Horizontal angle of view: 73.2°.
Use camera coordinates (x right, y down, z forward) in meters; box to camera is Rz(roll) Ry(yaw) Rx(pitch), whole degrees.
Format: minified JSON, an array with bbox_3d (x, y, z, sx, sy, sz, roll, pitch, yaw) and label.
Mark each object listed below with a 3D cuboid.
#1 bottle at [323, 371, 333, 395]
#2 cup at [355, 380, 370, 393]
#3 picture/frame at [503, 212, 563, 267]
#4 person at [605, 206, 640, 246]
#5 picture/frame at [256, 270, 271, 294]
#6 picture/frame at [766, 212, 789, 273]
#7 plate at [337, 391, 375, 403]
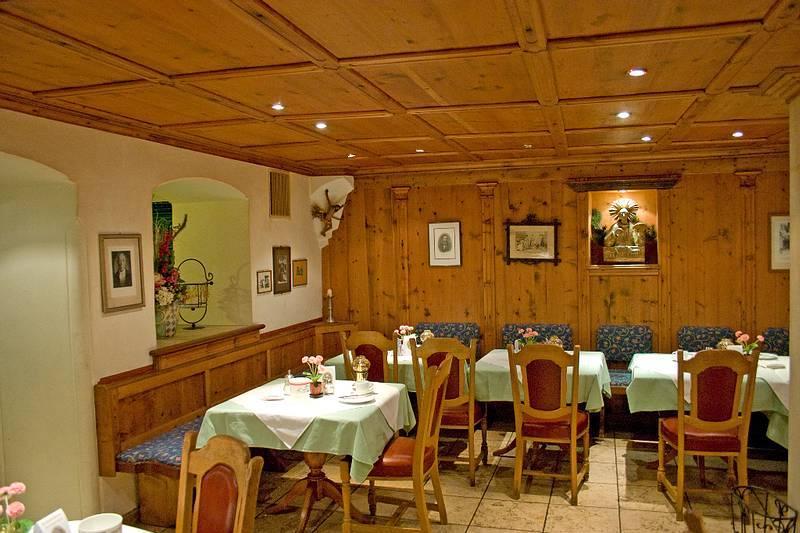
[{"bbox_3d":[-0.727,1.174,5.531,0.105,0.211,0.183,-3,7,-9],"label":"bottle"},{"bbox_3d":[-0.357,1.188,5.383,0.176,0.104,0.136,-4,7,-19],"label":"cup"},{"bbox_3d":[2.087,-0.415,8.291,0.900,0.767,0.048,0,0,15],"label":"picture/frame"},{"bbox_3d":[3.330,-0.603,8.002,0.638,0.767,0.259,0,0,20],"label":"person"},{"bbox_3d":[-1.919,0.215,7.582,0.025,0.262,0.334,-2,2,22],"label":"picture/frame"},{"bbox_3d":[5.322,-0.330,7.561,0.230,0.776,0.097,-1,8,11],"label":"picture/frame"},{"bbox_3d":[-0.406,1.271,5.260,0.358,0.045,0.251,-3,6,-9],"label":"plate"}]
